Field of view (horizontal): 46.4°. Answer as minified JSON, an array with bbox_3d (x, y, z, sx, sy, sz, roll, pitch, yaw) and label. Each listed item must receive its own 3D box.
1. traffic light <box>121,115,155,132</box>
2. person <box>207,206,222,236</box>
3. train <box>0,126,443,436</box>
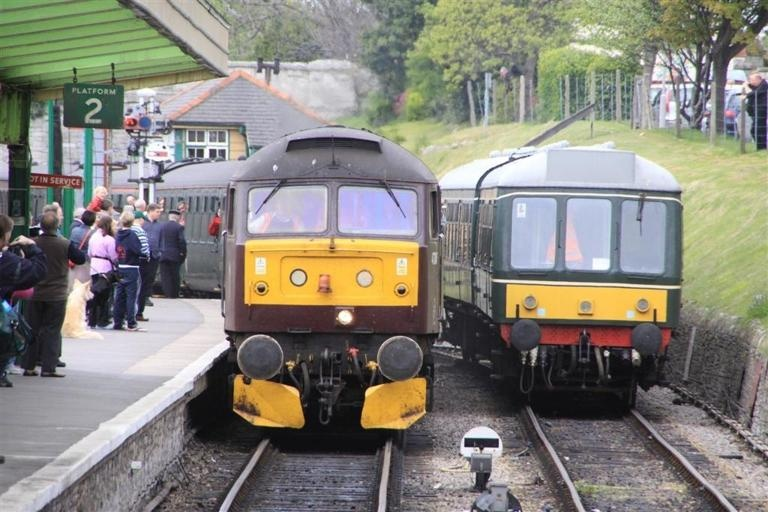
[{"bbox_3d":[-6.549,-3.536,23.863,0.523,0.325,0.544,0,2,-22],"label":"traffic light"},{"bbox_3d":[-4.452,-0.936,23.541,0.252,0.791,0.565,18,-11,-34],"label":"person"},{"bbox_3d":[-0.821,0.342,14.218,3.353,4.711,1.337,2,6,0],"label":"train"}]
